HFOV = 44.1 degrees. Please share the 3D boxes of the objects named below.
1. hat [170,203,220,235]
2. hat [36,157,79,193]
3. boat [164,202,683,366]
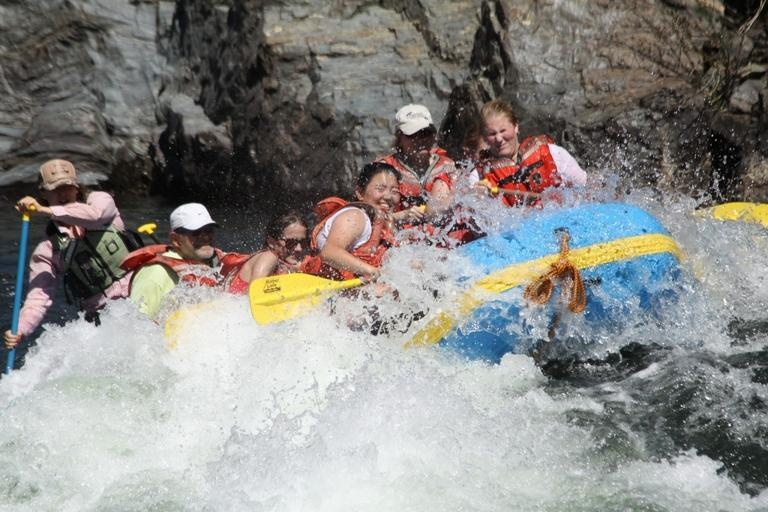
[{"bbox_3d":[-1.715,-0.331,8.391,0.258,0.343,0.165,-7,90,-41],"label":"hat"},{"bbox_3d":[-3.005,-0.756,8.662,0.333,0.267,0.336,-19,63,-17],"label":"hat"},{"bbox_3d":[0.720,0.243,8.316,3.151,1.779,0.686,-18,83,-11],"label":"boat"}]
